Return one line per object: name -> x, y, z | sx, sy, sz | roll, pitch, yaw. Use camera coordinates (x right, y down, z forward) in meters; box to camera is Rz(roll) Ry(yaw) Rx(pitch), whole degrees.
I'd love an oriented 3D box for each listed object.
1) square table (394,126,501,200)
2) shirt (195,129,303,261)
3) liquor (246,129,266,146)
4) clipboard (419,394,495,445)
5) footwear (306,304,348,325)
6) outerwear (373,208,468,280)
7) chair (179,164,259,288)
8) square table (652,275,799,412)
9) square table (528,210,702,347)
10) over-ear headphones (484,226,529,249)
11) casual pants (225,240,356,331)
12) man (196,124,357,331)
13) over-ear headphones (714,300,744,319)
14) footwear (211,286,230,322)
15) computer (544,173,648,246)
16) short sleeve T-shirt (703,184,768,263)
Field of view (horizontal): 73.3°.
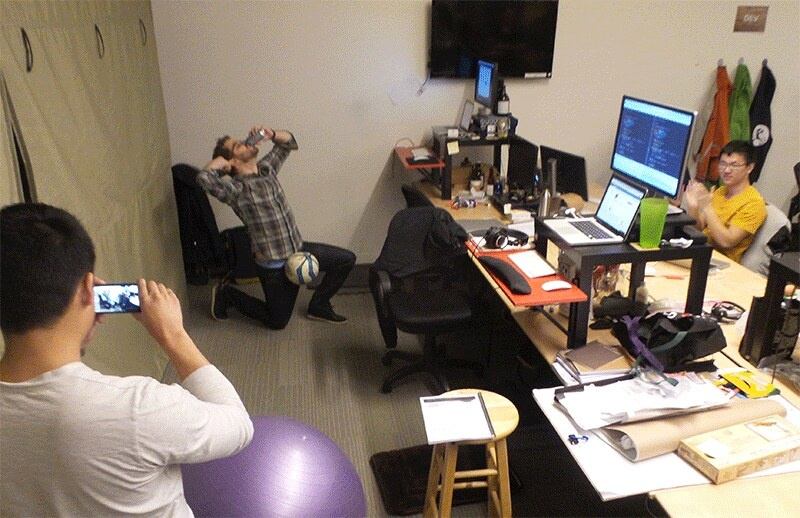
square table -> 0.481, -0.918, 5.211 | 1.048, 0.615, 0.909 | -5, 22, -8
shirt -> -1.325, -0.555, 4.605 | 0.331, 0.953, 0.920 | -14, 15, 42
liquor -> -1.179, -0.979, 4.371 | 0.073, 0.108, 0.203 | 8, 42, 32
clipboard -> 0.268, 0.758, 2.571 | 0.316, 0.066, 0.278 | -4, 28, -5
footwear -> -0.671, 0.496, 4.748 | 0.412, 0.176, 0.138 | 4, 13, -3
outerwear -> 0.132, -0.130, 3.926 | 0.806, 0.323, 0.726 | -3, 42, 1
chair -> -1.641, -0.305, 4.770 | 0.609, 1.030, 0.749 | -10, 24, -9
square table -> 1.960, 0.476, 3.514 | 0.573, 0.211, 0.846 | -6, 39, -6
square table -> 1.241, 0.165, 3.136 | 0.733, 0.538, 0.724 | -5, 22, -9
over-ear headphones -> 0.669, -0.125, 3.429 | 0.197, 0.102, 0.173 | 0, 9, 1
casual pants -> -1.026, 0.240, 4.675 | 1.202, 0.684, 0.364 | 1, 14, -9
man -> -1.040, -0.248, 4.650 | 1.305, 1.658, 0.760 | -5, 27, -15
over-ear headphones -> 1.886, 0.301, 3.093 | 0.106, 0.046, 0.144 | -29, 35, -35
footwear -> -1.604, 0.403, 4.768 | 0.122, 0.327, 0.131 | -4, -2, -9
computer -> 1.098, -0.222, 3.064 | 0.436, 0.290, 0.469 | -1, 21, -4
short sleeve T-shirt -> 2.482, -0.310, 4.034 | 0.328, 0.580, 0.516 | -10, 27, 4
